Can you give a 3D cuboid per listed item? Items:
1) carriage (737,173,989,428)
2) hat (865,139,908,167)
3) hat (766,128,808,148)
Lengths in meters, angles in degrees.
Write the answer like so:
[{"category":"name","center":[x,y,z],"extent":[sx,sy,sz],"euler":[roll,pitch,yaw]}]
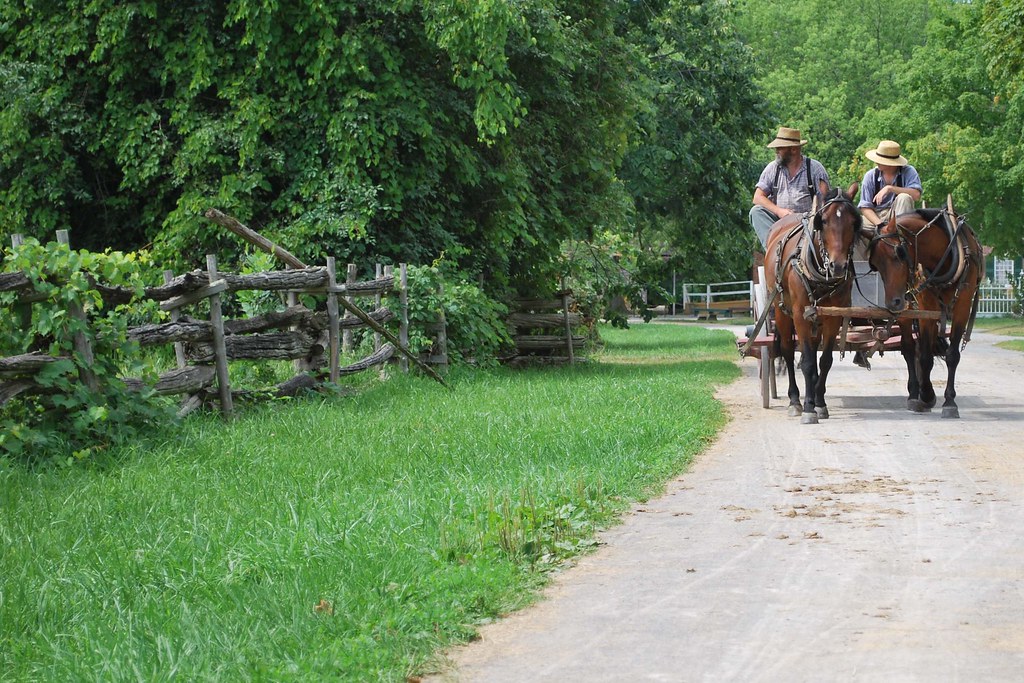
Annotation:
[{"category":"carriage","center":[4.895,-0.725,17.152],"extent":[1.509,2.575,5.488],"euler":[-3,-11,20]},{"category":"hat","center":[5.310,-2.693,17.899],"extent":[0.514,0.399,0.516],"euler":[-3,2,16]},{"category":"hat","center":[4.079,-2.974,18.295],"extent":[0.769,0.260,0.639],"euler":[1,10,1]}]
